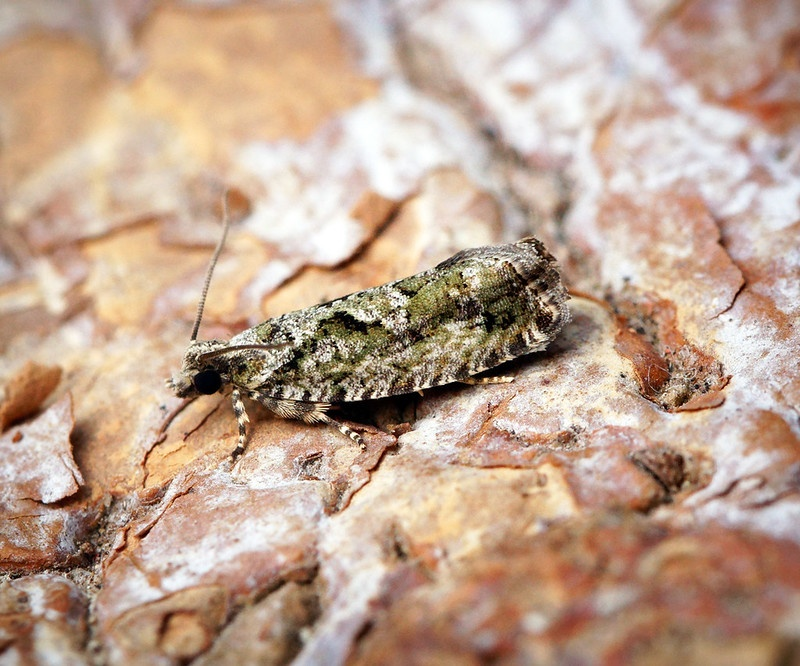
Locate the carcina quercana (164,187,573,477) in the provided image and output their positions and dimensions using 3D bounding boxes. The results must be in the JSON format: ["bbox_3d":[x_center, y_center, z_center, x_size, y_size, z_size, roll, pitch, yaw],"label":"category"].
[{"bbox_3d":[-0.091,-0.020,4.627,1.984,0.647,0.579,-20,13,-2],"label":"carcina quercana"}]
